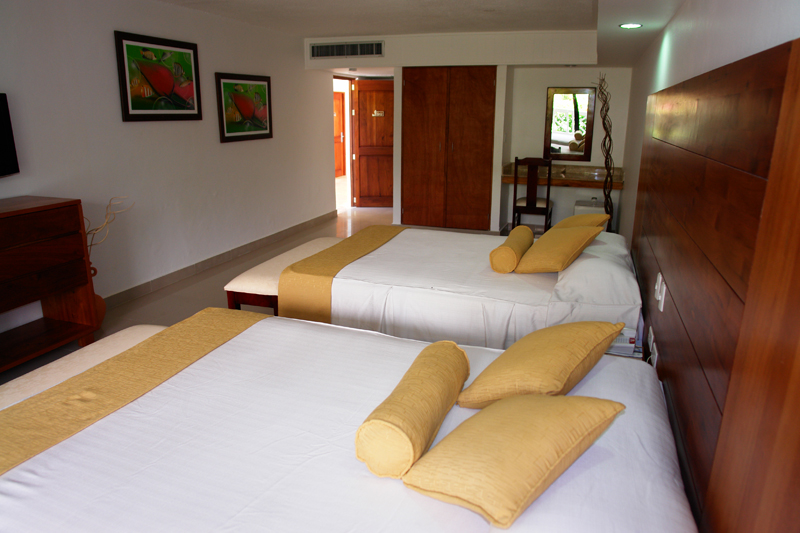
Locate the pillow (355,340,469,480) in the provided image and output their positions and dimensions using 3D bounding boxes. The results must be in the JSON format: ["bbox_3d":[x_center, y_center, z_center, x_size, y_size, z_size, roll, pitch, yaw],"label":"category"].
[{"bbox_3d":[0.082,0.593,2.264,0.270,0.293,0.675,10,23,25],"label":"pillow"}]

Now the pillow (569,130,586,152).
[{"bbox_3d":[2.587,-1.850,7.502,0.245,0.258,0.254,11,34,33],"label":"pillow"}]

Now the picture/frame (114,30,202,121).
[{"bbox_3d":[-2.390,-1.870,5.087,0.955,0.749,0.035,10,20,16],"label":"picture/frame"}]

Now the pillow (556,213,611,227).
[{"bbox_3d":[1.539,-0.392,4.204,0.240,0.074,0.252,-20,11,-35],"label":"pillow"}]

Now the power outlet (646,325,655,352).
[{"bbox_3d":[1.473,0.419,2.987,0.017,0.108,0.164,5,9,25],"label":"power outlet"}]

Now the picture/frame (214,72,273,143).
[{"bbox_3d":[-1.893,-1.956,6.234,0.919,0.717,0.023,12,18,33],"label":"picture/frame"}]

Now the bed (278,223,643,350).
[{"bbox_3d":[0.450,0.153,3.658,1.678,0.494,1.282,5,20,16],"label":"bed"}]

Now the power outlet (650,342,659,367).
[{"bbox_3d":[1.420,0.489,2.836,0.017,0.106,0.143,-2,0,31],"label":"power outlet"}]

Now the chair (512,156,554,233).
[{"bbox_3d":[1.860,-1.016,7.140,0.613,1.107,1.145,6,19,15],"label":"chair"}]
